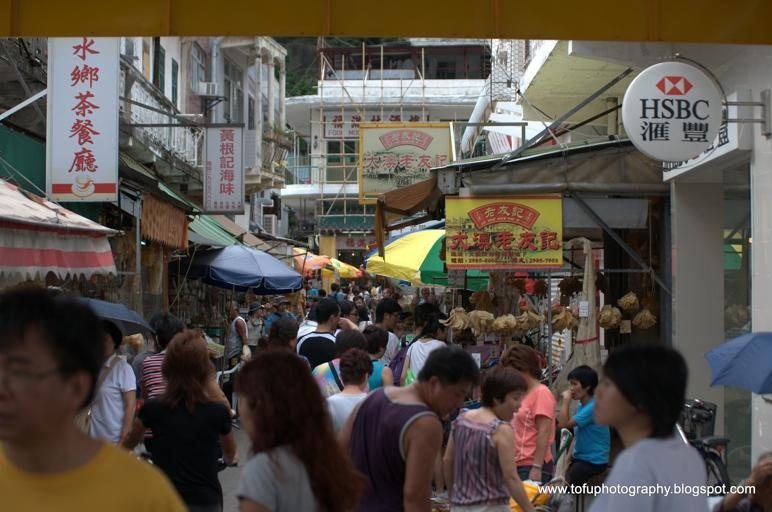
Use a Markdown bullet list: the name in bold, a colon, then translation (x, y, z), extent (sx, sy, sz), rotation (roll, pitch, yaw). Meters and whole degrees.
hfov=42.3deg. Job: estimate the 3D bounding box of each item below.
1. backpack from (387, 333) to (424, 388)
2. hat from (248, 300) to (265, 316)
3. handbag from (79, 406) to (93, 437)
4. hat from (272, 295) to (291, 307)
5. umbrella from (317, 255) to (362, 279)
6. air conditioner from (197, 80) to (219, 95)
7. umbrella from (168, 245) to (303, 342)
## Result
- **backpack**: translation (0.305, 1.293, 12.148), extent (0.441, 0.565, 0.572), rotation (27, -19, -25)
- **hat**: translation (-2.475, 1.000, 19.059), extent (0.281, 0.120, 0.313), rotation (-24, -9, 19)
- **handbag**: translation (-2.941, 1.623, 9.727), extent (0.095, 0.266, 0.190), rotation (2, 2, 29)
- **hat**: translation (-2.235, 0.961, 21.096), extent (0.507, 0.176, 0.521), rotation (0, -4, -6)
- **umbrella**: translation (-1.501, 0.360, 32.513), extent (0.866, 0.315, 0.861), rotation (14, -12, 37)
- **air conditioner**: translation (-4.223, -3.973, 23.780), extent (0.471, 0.374, 0.333), rotation (5, -9, -21)
- **umbrella**: translation (-2.876, 0.574, 19.502), extent (2.378, 1.731, 2.389), rotation (7, 2, 31)
